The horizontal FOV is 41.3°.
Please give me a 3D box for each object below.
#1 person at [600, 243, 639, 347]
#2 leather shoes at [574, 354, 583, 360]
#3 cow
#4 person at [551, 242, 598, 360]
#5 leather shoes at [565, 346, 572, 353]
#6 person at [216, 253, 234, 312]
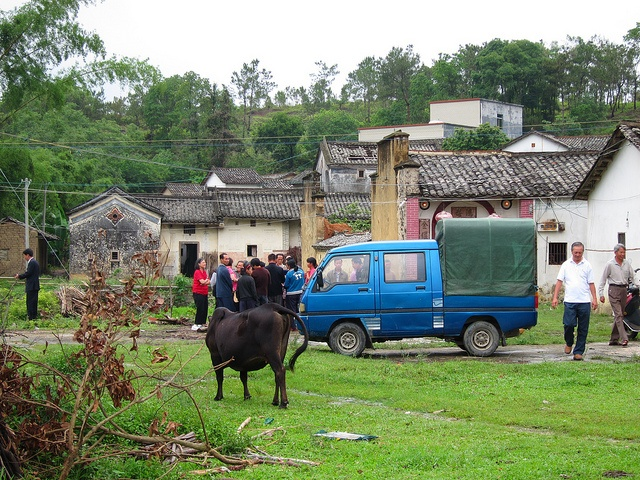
[{"bbox_3d":[7.234,1.318,20.698,0.696,2.408,0.923,0,-3,26],"label":"person"},{"bbox_3d":[5.817,2.619,19.146,0.204,0.133,0.259,0,-3,15],"label":"leather shoes"},{"bbox_3d":[-1.463,2.188,16.726,1.115,2.046,3.189,7,-12,-36],"label":"cow"},{"bbox_3d":[5.754,1.349,19.176,0.902,2.634,0.973,0,-3,18],"label":"person"},{"bbox_3d":[5.679,2.483,19.437,0.115,0.159,0.227,1,6,17],"label":"leather shoes"},{"bbox_3d":[-2.401,1.033,21.346,0.500,1.408,0.817,2,-3,-7],"label":"person"}]
